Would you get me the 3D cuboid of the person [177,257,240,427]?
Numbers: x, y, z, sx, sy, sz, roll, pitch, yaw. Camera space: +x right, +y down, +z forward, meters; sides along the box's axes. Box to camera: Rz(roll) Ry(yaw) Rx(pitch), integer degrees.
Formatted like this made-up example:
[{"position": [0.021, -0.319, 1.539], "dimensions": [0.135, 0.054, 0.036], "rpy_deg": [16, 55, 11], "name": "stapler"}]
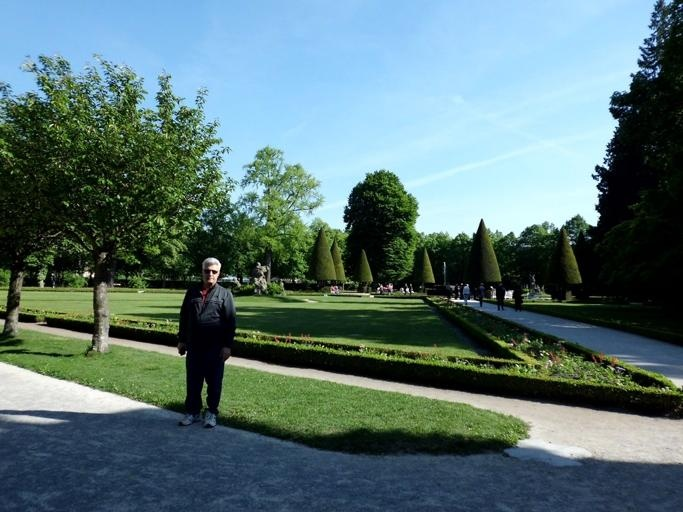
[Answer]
[{"position": [-2.148, 1.358, 7.601], "dimensions": [0.891, 2.628, 0.689], "rpy_deg": [5, 6, 34], "name": "person"}]
